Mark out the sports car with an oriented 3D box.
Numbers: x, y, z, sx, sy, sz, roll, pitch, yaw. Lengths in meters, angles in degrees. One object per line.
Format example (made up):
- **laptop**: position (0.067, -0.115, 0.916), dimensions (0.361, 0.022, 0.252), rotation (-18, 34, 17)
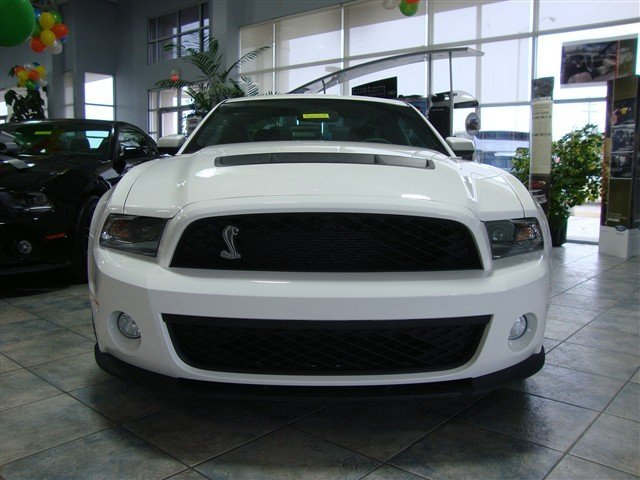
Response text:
- **sports car**: position (-0.008, -0.369, 3.005), dimensions (2.233, 1.238, 3.357), rotation (0, 15, -3)
